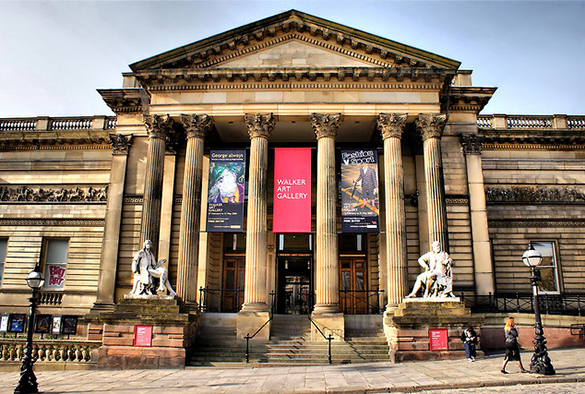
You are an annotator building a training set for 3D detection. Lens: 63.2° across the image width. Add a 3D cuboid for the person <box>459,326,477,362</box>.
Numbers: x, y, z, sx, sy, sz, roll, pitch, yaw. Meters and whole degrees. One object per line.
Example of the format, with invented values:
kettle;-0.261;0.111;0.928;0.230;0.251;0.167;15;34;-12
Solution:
person;9.202;7.696;25.035;0.775;1.198;1.420;-3;1;14
